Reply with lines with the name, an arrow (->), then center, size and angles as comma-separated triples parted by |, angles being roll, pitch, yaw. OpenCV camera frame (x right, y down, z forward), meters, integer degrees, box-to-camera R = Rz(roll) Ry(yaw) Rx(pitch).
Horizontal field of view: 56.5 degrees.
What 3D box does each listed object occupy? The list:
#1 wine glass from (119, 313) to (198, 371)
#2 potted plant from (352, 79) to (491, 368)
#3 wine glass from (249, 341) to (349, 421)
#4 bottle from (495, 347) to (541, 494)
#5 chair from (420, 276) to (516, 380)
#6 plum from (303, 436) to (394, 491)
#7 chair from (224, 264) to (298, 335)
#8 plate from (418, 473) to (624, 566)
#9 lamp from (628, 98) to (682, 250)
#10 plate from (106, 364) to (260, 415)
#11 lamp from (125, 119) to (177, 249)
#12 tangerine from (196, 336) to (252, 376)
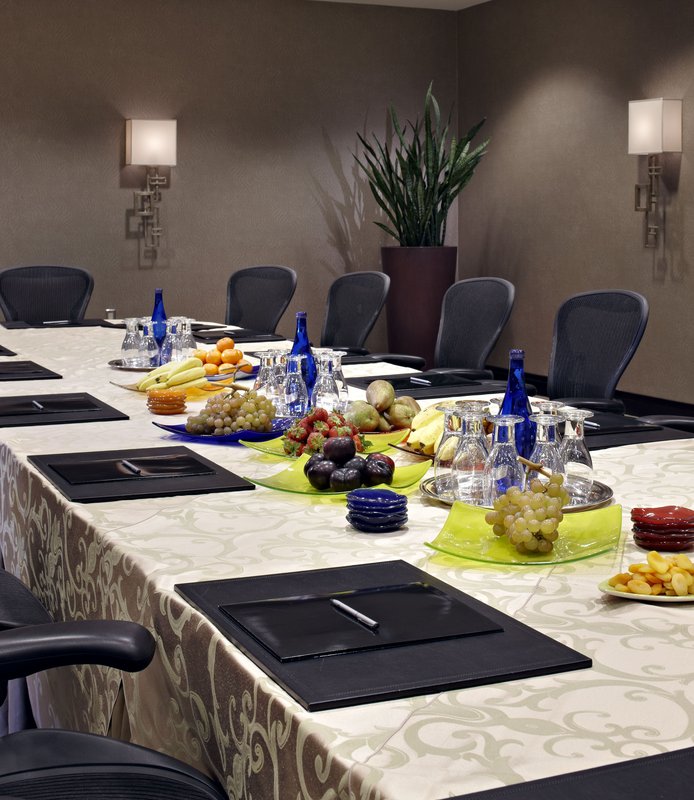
wine glass -> -0.807, -0.230, 2.669 | 0.267, 0.242, 0.294 | 1, 11, -2
potted plant -> 0.808, -1.883, 7.904 | 1.551, 3.589, 1.003 | -2, 11, -10
wine glass -> -0.137, -0.057, 1.827 | 0.200, 0.199, 0.222 | 0, 10, -16
bottle -> 0.333, -0.002, 1.243 | 0.075, 0.193, 0.077 | -7, 20, 3
chair -> 0.613, -0.395, 3.517 | 0.445, 0.751, 0.475 | -4, 12, -24
plum -> 0.009, 0.103, 1.328 | 0.182, 0.102, 0.170 | 10, 11, 36
chair -> -0.650, -0.739, 4.753 | 0.478, 0.658, 0.479 | -6, 13, -32
plate -> 0.270, 0.168, 1.003 | 0.213, 0.086, 0.231 | -5, 11, -44
lamp -> 2.884, -2.082, 6.011 | 0.412, 1.315, 0.460 | 4, 6, 38
plate -> -0.548, -0.042, 2.239 | 0.286, 0.121, 0.346 | 2, 12, 41
lamp -> -2.197, -2.331, 7.093 | 0.585, 1.526, 0.518 | -1, 5, -20
tangerine -> -0.499, -0.160, 2.548 | 0.181, 0.095, 0.177 | 3, 1, -2
